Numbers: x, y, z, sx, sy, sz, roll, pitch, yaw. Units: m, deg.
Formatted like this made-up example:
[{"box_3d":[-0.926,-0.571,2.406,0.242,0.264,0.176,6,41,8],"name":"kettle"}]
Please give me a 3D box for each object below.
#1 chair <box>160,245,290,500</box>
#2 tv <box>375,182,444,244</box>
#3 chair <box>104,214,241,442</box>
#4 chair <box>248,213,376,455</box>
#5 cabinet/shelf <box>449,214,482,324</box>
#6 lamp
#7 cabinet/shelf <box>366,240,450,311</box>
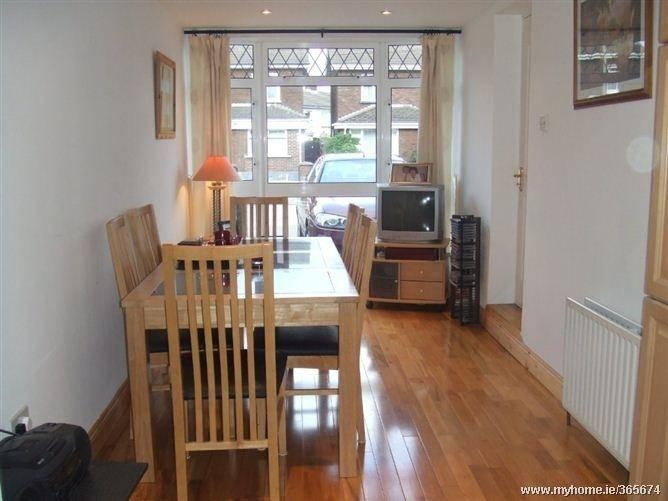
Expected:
[{"box_3d":[-0.502,0.518,2.613,0.551,1.265,0.874,-3,13,-9],"name":"chair"},{"box_3d":[0.694,-0.284,5.109,0.741,0.749,0.467,0,8,6],"name":"tv"},{"box_3d":[-0.747,0.276,3.146,0.836,1.658,0.852,0,12,-1],"name":"chair"},{"box_3d":[-0.129,0.439,3.012,0.490,0.953,0.500,-2,8,-1],"name":"chair"},{"box_3d":[1.127,0.178,4.633,0.292,0.929,0.228,5,14,24],"name":"cabinet/shelf"},{"box_3d":[-1.064,-0.383,4.946,0.505,0.880,0.540,0,4,-7],"name":"lamp"},{"box_3d":[0.704,0.047,5.179,0.836,0.811,0.546,1,6,7],"name":"cabinet/shelf"}]
